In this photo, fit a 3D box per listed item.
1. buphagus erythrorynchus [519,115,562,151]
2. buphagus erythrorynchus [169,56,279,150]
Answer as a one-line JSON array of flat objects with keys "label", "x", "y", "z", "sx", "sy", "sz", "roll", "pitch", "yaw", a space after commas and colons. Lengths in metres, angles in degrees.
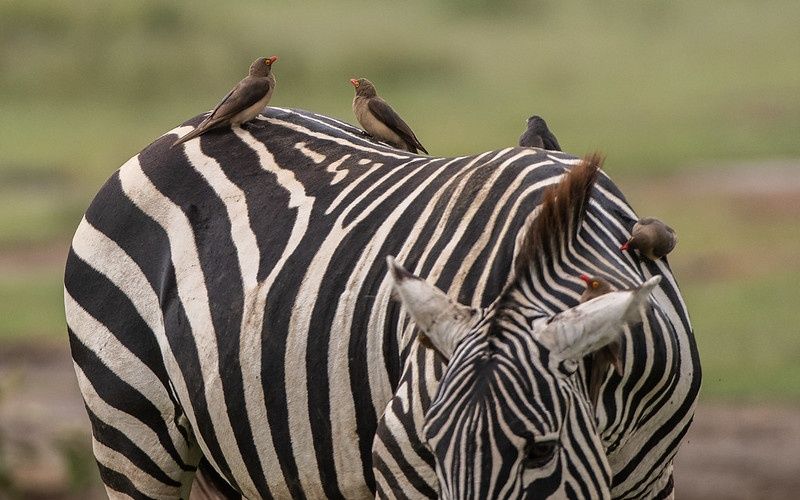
[{"label": "buphagus erythrorynchus", "x": 0.753, "y": -0.635, "z": 8.121, "sx": 0.158, "sy": 0.122, "sz": 0.252, "roll": -2, "pitch": 26, "yaw": -3}, {"label": "buphagus erythrorynchus", "x": -0.927, "y": -0.820, "z": 7.981, "sx": 0.696, "sy": 0.362, "sz": 0.203, "roll": -21, "pitch": 19, "yaw": -31}]
